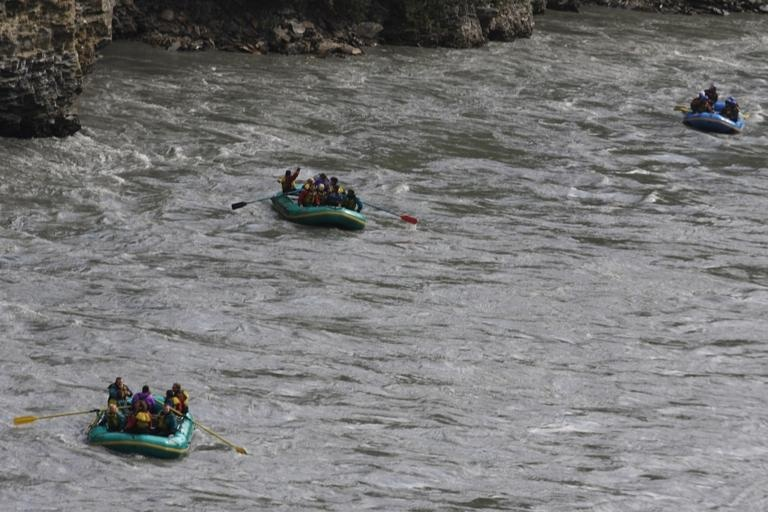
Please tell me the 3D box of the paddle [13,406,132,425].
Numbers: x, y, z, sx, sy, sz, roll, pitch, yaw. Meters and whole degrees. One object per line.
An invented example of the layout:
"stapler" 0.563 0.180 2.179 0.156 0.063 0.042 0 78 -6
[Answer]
"paddle" -10.206 5.040 54.713 6.129 0.447 0.469 -1 41 -2

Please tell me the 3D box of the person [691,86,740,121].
"person" 14.165 -6.510 72.280 1.663 0.616 1.982 21 -4 8

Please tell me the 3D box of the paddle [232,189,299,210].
"paddle" -4.557 -2.133 63.906 3.647 0.343 0.232 -10 14 -6

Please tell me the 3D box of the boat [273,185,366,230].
"boat" -2.561 -1.632 63.179 3.525 1.082 0.759 4 9 12

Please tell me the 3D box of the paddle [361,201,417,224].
"paddle" 0.110 -1.647 64.062 2.517 0.202 0.180 19 14 19

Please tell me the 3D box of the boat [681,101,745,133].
"boat" 14.040 -5.652 71.955 2.479 0.884 0.681 2 9 -4
